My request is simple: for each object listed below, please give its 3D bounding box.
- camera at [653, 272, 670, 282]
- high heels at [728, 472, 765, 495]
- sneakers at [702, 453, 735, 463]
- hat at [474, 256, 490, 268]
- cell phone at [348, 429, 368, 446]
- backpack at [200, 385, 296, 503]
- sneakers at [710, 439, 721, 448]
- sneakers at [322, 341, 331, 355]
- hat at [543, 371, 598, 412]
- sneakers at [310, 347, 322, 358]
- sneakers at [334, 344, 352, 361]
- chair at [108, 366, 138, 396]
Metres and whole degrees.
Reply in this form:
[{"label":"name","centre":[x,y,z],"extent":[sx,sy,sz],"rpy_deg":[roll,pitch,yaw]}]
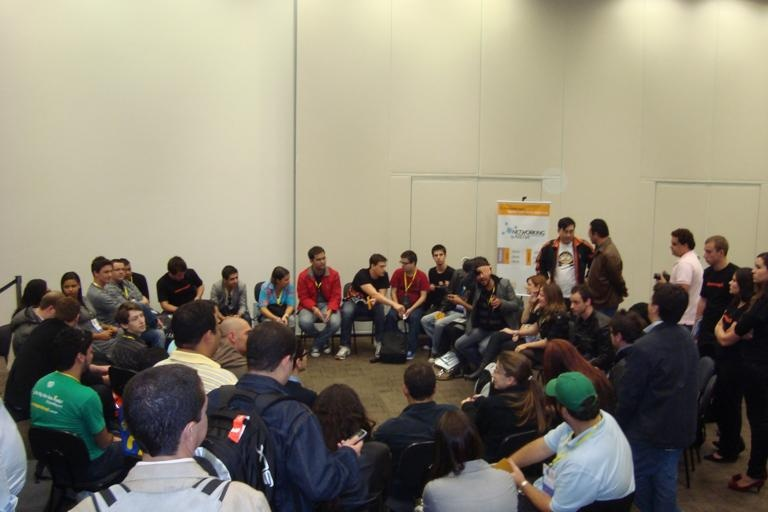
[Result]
[{"label":"camera","centre":[3.979,0.292,8.122],"extent":[0.107,0.046,0.109],"rpy_deg":[27,53,35]},{"label":"high heels","centre":[3.470,2.189,5.447],"extent":[0.284,0.166,0.164],"rpy_deg":[3,8,16]},{"label":"sneakers","centre":[3.476,2.099,5.870],"extent":[0.287,0.088,0.110],"rpy_deg":[10,4,18]},{"label":"hat","centre":[1.334,0.079,7.740],"extent":[0.146,0.195,0.205],"rpy_deg":[-4,0,11]},{"label":"cell phone","centre":[-0.176,1.307,4.051],"extent":[0.129,0.038,0.072],"rpy_deg":[-27,28,-31]},{"label":"backpack","centre":[-0.933,1.284,3.752],"extent":[0.558,0.750,0.495],"rpy_deg":[2,4,4]},{"label":"sneakers","centre":[3.545,1.997,6.038],"extent":[0.107,0.049,0.142],"rpy_deg":[0,-7,-5]},{"label":"sneakers","centre":[-0.875,1.384,8.533],"extent":[0.179,0.186,0.446],"rpy_deg":[0,-4,-6]},{"label":"hat","centre":[1.357,0.972,4.140],"extent":[0.215,0.206,0.332],"rpy_deg":[-28,38,-18]},{"label":"sneakers","centre":[-0.994,1.421,8.364],"extent":[0.141,0.108,0.371],"rpy_deg":[-1,-1,-4]},{"label":"sneakers","centre":[-0.593,1.410,8.301],"extent":[0.103,0.190,0.292],"rpy_deg":[-1,-11,16]},{"label":"chair","centre":[-2.536,1.214,5.498],"extent":[0.406,0.294,0.152],"rpy_deg":[6,6,39]}]
